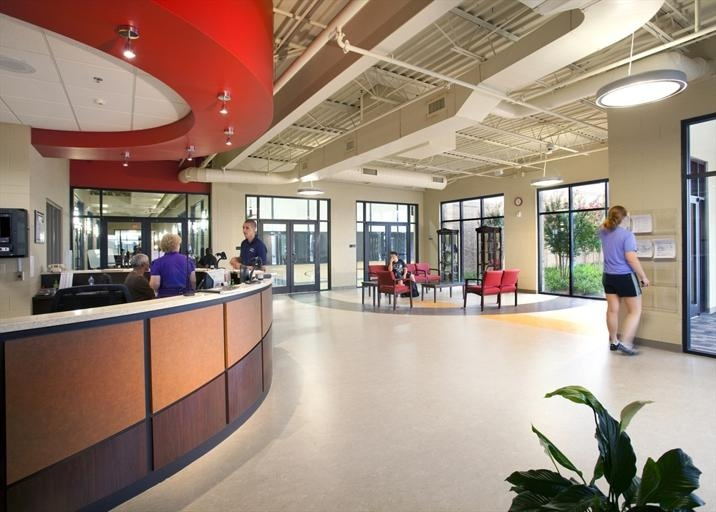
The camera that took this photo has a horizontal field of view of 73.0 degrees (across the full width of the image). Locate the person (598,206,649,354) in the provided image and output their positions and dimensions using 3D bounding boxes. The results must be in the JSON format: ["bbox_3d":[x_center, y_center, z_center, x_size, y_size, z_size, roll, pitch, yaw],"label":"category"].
[{"bbox_3d":[3.907,0.350,7.144,0.644,2.132,0.673,3,10,30],"label":"person"}]

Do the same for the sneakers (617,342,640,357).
[{"bbox_3d":[3.960,1.359,7.044,0.360,0.167,0.136,0,0,-16],"label":"sneakers"}]

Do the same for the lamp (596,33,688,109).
[{"bbox_3d":[3.442,-2.227,5.837,0.745,0.189,0.780,-3,-7,7],"label":"lamp"}]

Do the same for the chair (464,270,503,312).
[{"bbox_3d":[2.981,0.789,11.316,0.872,1.182,0.911,0,1,-25],"label":"chair"}]

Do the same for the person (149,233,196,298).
[{"bbox_3d":[-2.378,0.152,6.175,0.600,0.919,0.591,0,2,40],"label":"person"}]

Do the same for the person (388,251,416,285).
[{"bbox_3d":[1.046,0.330,11.653,0.547,0.865,1.130,-1,9,6],"label":"person"}]

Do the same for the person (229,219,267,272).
[{"bbox_3d":[-1.615,0.067,7.171,0.514,1.166,0.340,9,13,21],"label":"person"}]

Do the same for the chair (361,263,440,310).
[{"bbox_3d":[1.035,0.697,11.881,0.917,0.825,1.647,-2,-3,41],"label":"chair"}]
